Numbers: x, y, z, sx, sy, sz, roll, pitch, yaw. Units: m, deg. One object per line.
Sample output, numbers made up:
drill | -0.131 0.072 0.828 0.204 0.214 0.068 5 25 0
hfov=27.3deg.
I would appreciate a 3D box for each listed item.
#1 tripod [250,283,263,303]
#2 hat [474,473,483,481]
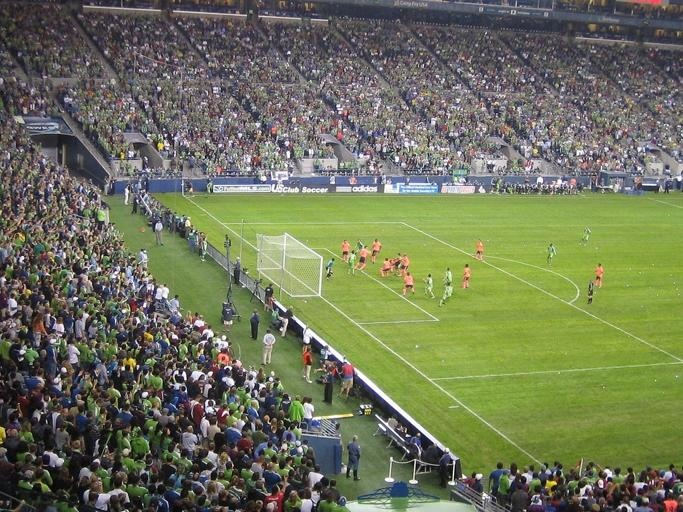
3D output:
tripod | -5.290 2.286 87.189 0.703 1.343 0.683 20 24 41
hat | 6.913 11.104 70.659 0.443 0.213 0.350 7 -2 4
